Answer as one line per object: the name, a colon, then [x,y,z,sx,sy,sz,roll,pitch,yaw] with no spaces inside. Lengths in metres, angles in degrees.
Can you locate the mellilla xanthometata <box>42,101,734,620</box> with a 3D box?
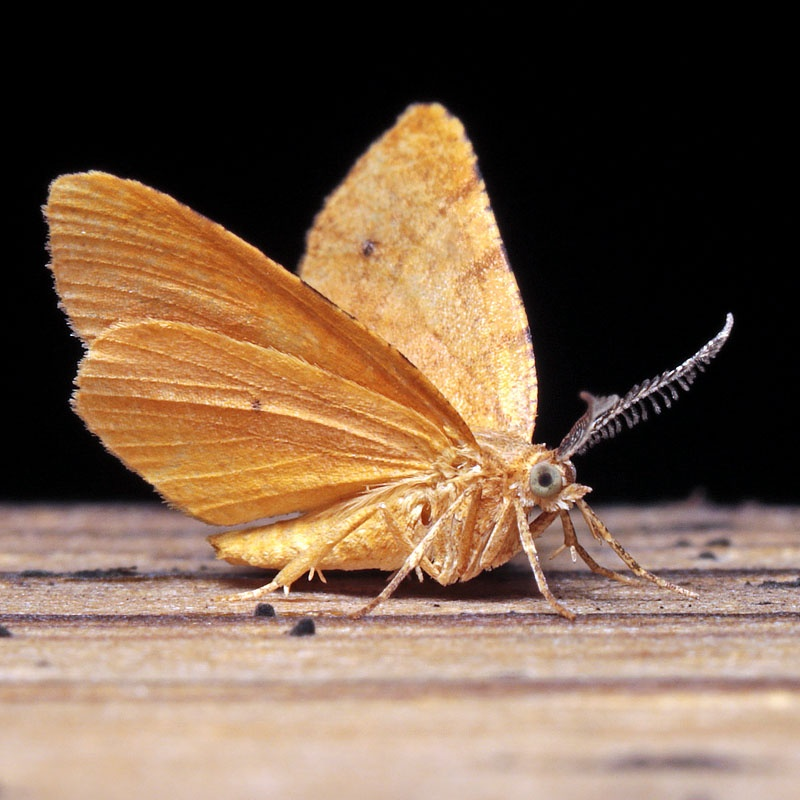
mellilla xanthometata: [-0.061,-0.076,3.100,1.222,1.168,1.984,-12,22,-34]
